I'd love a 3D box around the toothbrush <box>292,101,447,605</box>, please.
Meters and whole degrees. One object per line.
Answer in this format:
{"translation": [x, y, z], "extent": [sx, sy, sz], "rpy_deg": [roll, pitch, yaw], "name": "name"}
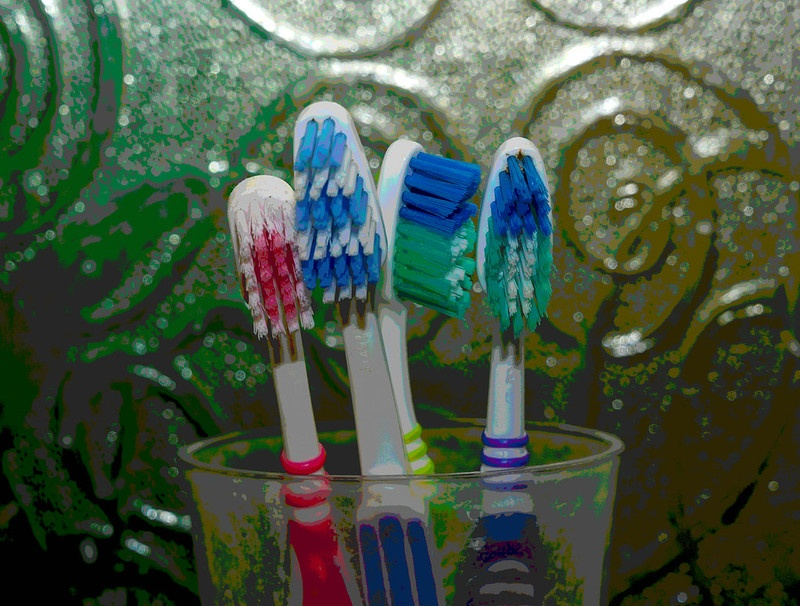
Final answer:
{"translation": [-0.036, 0.054, 0.741], "extent": [0.088, 0.399, 0.070], "rpy_deg": [-9, 1, 16], "name": "toothbrush"}
